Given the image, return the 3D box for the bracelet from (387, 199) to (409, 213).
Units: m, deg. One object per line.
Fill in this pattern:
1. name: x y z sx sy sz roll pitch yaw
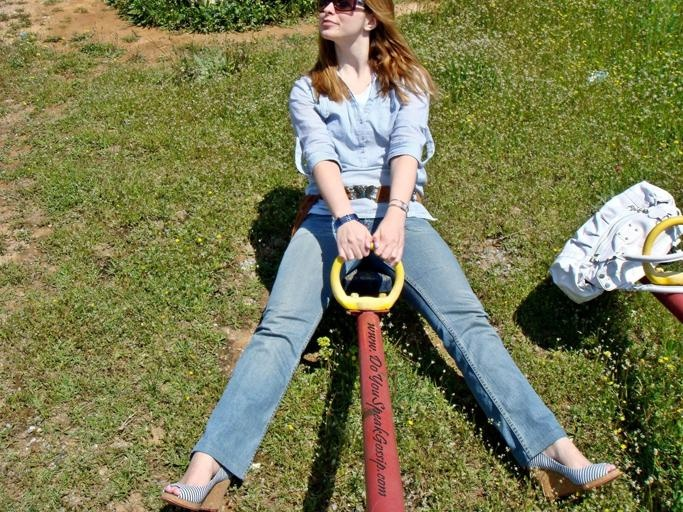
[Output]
1. bracelet: 0.443 -0.400 4.872 0.106 0.110 0.030 31 94 33

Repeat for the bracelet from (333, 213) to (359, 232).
1. bracelet: 0.040 -0.256 4.841 0.168 0.160 0.120 -17 46 44
